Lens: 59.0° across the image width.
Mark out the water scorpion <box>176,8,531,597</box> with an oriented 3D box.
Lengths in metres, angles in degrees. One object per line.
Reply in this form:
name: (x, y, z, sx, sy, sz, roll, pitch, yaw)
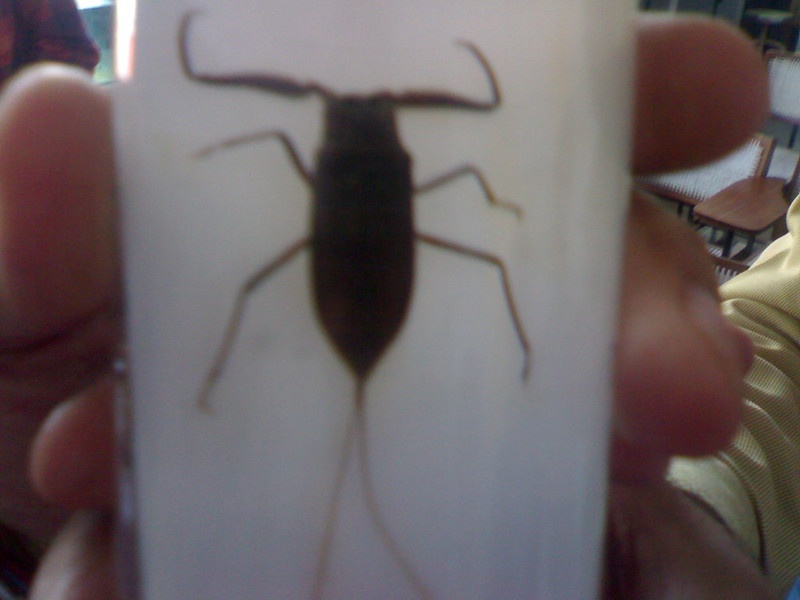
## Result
water scorpion: (-0.050, -0.013, 0.589, 0.205, 0.477, 0.080, -1, 5, -8)
